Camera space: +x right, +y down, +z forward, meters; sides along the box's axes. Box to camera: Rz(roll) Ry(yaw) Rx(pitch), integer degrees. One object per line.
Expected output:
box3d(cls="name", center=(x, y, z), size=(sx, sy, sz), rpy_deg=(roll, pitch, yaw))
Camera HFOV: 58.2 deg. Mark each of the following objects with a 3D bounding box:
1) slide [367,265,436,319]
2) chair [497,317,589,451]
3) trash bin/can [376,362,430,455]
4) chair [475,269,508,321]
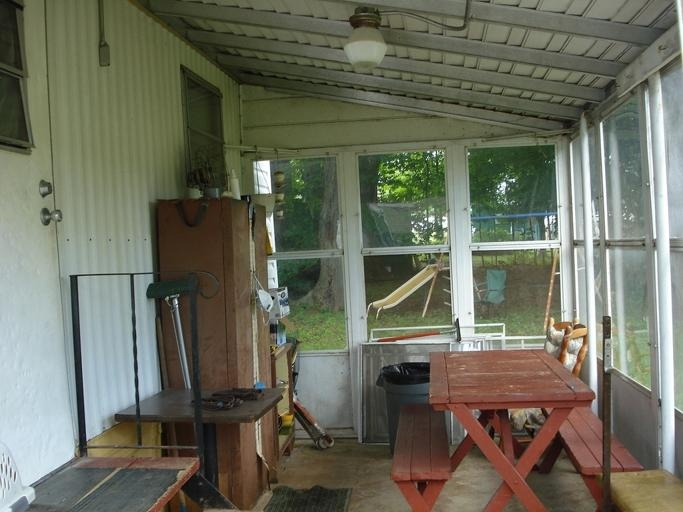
box3d(cls="slide", center=(0.750, 0.390, 7.040), size=(0.909, 0.719, 0.240), rpy_deg=(-2, 18, -33))
box3d(cls="chair", center=(1.928, 1.131, 6.010), size=(0.683, 1.085, 0.579), rpy_deg=(5, 4, -16))
box3d(cls="trash bin/can", center=(0.679, 1.625, 6.470), size=(0.619, 0.848, 0.605), rpy_deg=(1, 1, -1))
box3d(cls="chair", center=(1.690, 0.468, 7.056), size=(0.362, 0.583, 0.378), rpy_deg=(-5, -1, -17))
